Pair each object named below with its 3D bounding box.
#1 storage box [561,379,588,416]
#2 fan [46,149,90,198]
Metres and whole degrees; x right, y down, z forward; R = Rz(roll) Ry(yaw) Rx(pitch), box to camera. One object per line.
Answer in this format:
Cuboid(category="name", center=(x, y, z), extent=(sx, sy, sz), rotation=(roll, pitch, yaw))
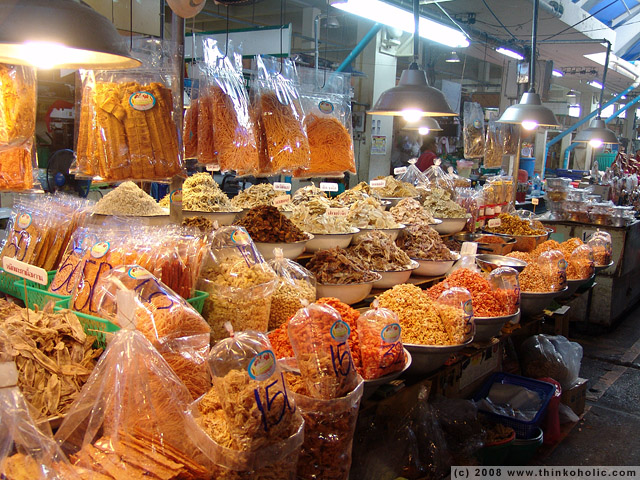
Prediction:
Cuboid(category="storage box", center=(2.083, 1.298, 3.677), extent=(0.166, 0.310, 0.326), rotation=(4, 11, 44))
Cuboid(category="fan", center=(-2.244, -0.571, 3.949), extent=(0.281, 0.435, 0.549), rotation=(-3, 12, -16))
